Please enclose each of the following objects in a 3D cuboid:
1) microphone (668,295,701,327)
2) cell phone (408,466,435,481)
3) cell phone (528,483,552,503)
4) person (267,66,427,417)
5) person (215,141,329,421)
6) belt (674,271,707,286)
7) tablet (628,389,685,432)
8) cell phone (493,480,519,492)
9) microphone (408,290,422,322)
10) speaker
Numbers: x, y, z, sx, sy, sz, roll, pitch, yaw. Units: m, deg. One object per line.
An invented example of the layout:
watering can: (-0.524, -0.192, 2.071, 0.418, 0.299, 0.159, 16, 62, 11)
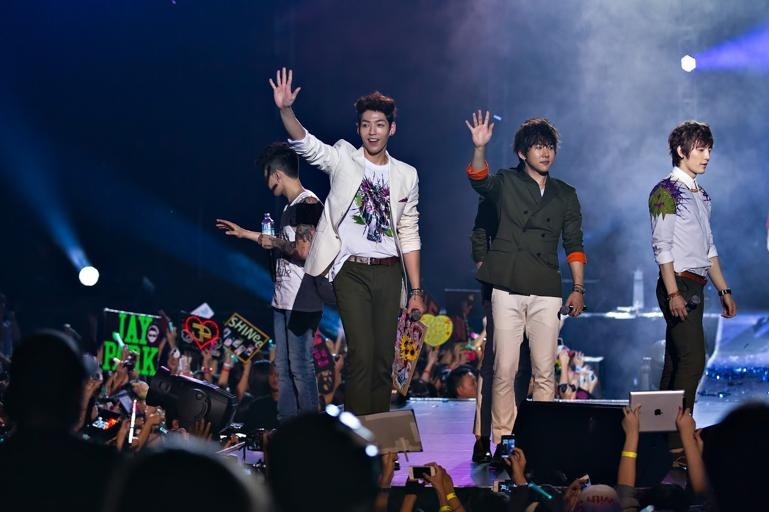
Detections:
microphone: (2.532, 0.440, 5.662, 0.294, 0.303, 0.177, 2, -8, 4)
cell phone: (0.252, 1.509, 4.637, 0.162, 0.131, 0.317, 3, -12, 2)
cell phone: (1.107, 1.640, 4.688, 0.166, 0.094, 0.191, 0, -12, 17)
person: (-0.182, -0.095, 5.413, 1.193, 3.597, 0.870, 0, -3, 2)
person: (-0.891, 0.272, 6.051, 0.936, 2.886, 0.852, -2, -3, 28)
belt: (2.622, 0.174, 5.654, 0.157, 0.047, 0.154, 20, -14, -34)
tablet: (2.012, 1.143, 4.889, 0.435, 0.322, 0.043, 0, 1, -4)
cell phone: (0.875, 1.666, 4.867, 0.151, 0.084, 0.082, 1, -12, 9)
microphone: (0.251, 0.397, 5.534, 0.146, 0.217, 0.080, -3, -7, 26)
speaker: (1.577, 1.434, 5.114, 1.146, 0.624, 0.382, 0, -12, 17)
